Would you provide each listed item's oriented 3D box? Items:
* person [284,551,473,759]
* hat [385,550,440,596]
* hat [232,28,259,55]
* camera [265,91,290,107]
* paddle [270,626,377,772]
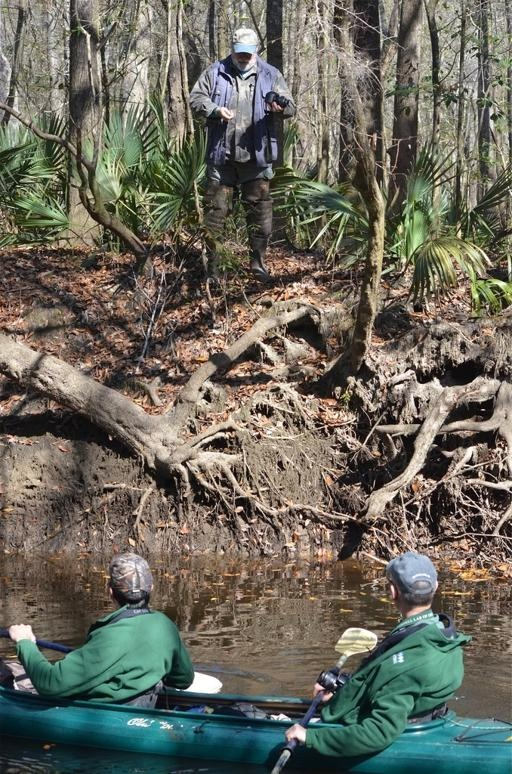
[{"bbox_3d":[0.492,1.048,3.743,0.632,0.801,0.391,3,2,28],"label":"person"},{"bbox_3d":[0.614,0.713,3.706,0.139,0.112,0.192,-5,21,-12],"label":"hat"},{"bbox_3d":[-0.201,-3.148,8.685,0.187,0.143,0.279,3,17,-1],"label":"hat"},{"bbox_3d":[0.111,-2.556,8.533,0.181,0.076,0.130,14,42,2],"label":"camera"},{"bbox_3d":[0.340,1.262,4.200,0.223,0.058,1.185,7,23,17],"label":"paddle"}]
